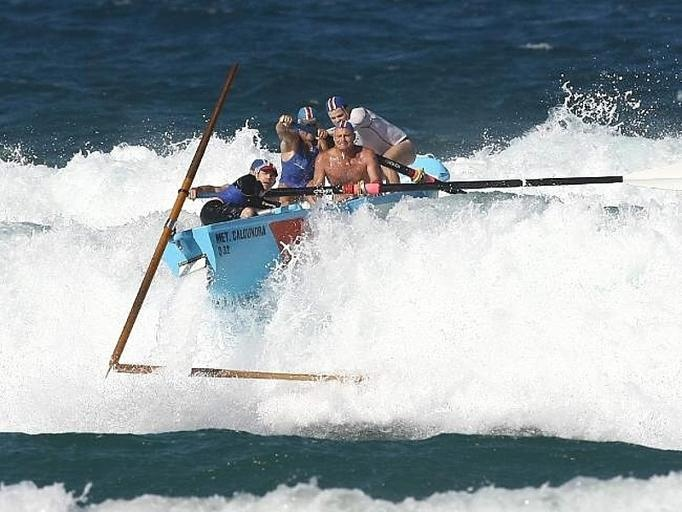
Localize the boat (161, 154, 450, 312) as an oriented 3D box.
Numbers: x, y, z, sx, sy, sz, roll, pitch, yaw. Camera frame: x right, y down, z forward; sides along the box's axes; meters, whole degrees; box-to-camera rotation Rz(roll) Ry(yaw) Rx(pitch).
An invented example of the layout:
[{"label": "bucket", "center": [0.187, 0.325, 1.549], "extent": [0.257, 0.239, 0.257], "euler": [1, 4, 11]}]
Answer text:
[{"label": "boat", "center": [-0.451, -0.548, 17.434], "extent": [4.801, 1.470, 1.191], "euler": [-19, 40, -31]}]

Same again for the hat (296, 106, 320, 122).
[{"label": "hat", "center": [-0.512, -2.119, 17.816], "extent": [0.259, 0.246, 0.334], "euler": [8, 22, 18]}]

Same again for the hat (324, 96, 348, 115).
[{"label": "hat", "center": [-0.073, -2.261, 17.873], "extent": [0.269, 0.257, 0.338], "euler": [-7, 11, 16]}]

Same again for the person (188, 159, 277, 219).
[{"label": "person", "center": [-1.585, -0.938, 17.236], "extent": [0.544, 0.635, 0.901], "euler": [17, 43, 33]}]
